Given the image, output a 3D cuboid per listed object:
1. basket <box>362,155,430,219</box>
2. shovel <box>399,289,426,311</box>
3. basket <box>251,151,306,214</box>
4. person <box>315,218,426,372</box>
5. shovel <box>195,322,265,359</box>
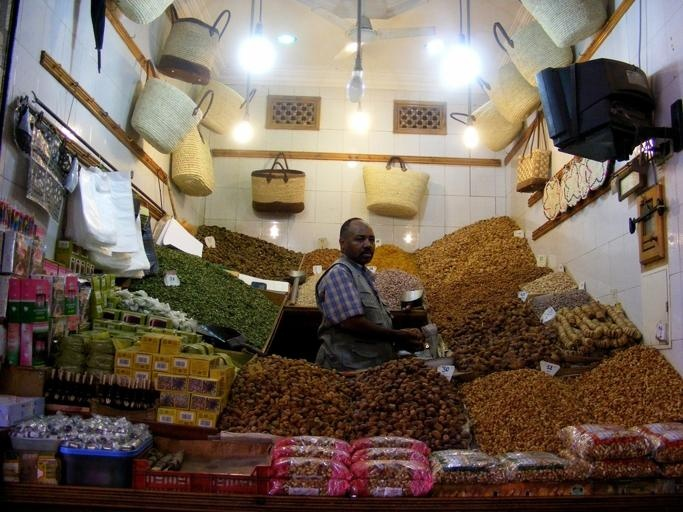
[{"bbox_3d":[0.817,-1.005,7.899,0.866,0.876,0.400,4,-28,0],"label":"basket"},{"bbox_3d":[0.804,0.496,5.882,0.227,0.164,0.218,3,-15,-2],"label":"shovel"},{"bbox_3d":[-0.971,-1.072,7.875,0.898,1.140,0.508,3,7,3],"label":"basket"},{"bbox_3d":[0.162,0.305,4.052,0.634,1.118,0.785,-7,13,-38],"label":"person"},{"bbox_3d":[-1.003,0.730,4.608,0.591,0.235,0.432,6,12,21],"label":"shovel"}]
